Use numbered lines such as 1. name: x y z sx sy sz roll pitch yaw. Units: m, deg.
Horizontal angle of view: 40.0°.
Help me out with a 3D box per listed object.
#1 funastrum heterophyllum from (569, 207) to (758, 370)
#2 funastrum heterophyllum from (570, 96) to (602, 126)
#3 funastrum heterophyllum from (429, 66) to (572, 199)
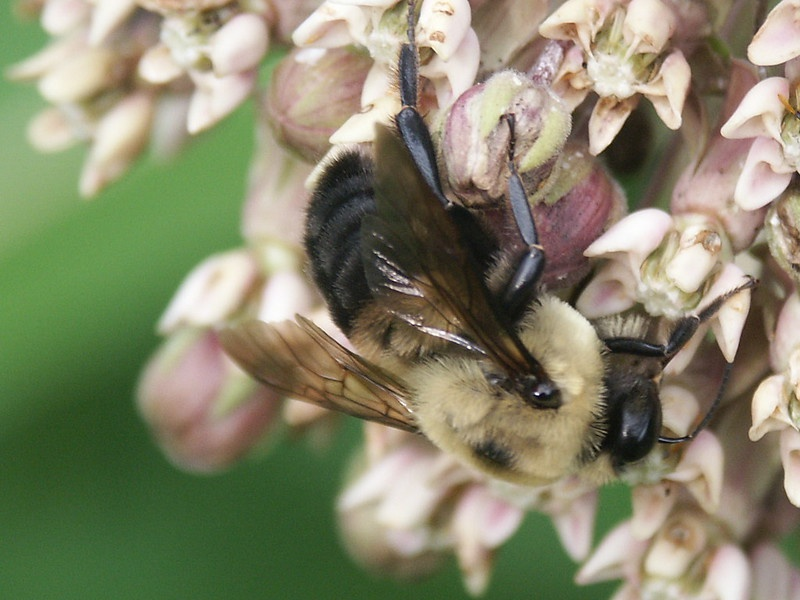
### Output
1. funastrum heterophyllum: 0.254 -0.023 1.049 0.152 0.098 0.101 -29 52 -11
2. funastrum heterophyllum: 0.180 -0.185 1.071 0.021 0.029 0.008 20 30 -15
3. funastrum heterophyllum: 0.094 -0.146 0.959 0.108 0.119 0.056 -3 21 -21
